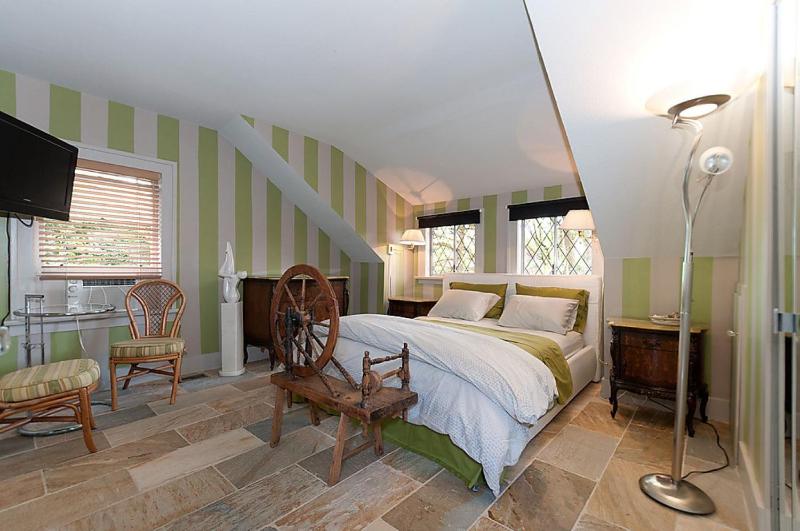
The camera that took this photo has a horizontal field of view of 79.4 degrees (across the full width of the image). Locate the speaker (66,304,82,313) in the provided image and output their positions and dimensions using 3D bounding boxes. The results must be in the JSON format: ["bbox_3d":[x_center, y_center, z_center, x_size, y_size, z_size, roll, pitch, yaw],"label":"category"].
[{"bbox_3d":[-3.054,0.404,4.540,0.129,0.088,0.470,-3,-1,-35],"label":"speaker"}]

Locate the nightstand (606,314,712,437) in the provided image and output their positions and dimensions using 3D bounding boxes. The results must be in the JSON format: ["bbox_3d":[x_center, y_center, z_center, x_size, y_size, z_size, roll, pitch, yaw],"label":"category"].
[{"bbox_3d":[2.489,0.996,4.647,0.559,1.007,0.770,-16,14,-42],"label":"nightstand"}]

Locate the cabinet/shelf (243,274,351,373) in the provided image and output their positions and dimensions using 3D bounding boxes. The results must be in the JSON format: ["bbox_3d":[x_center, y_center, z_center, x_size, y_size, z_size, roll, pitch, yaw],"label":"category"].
[{"bbox_3d":[-1.098,0.592,4.874,0.461,1.035,1.124,0,-1,37],"label":"cabinet/shelf"}]

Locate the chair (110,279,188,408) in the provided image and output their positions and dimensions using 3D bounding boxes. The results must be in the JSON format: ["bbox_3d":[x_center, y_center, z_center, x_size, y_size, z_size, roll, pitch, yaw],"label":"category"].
[{"bbox_3d":[-2.658,0.767,5.126,0.712,1.485,0.972,-3,0,-24],"label":"chair"}]

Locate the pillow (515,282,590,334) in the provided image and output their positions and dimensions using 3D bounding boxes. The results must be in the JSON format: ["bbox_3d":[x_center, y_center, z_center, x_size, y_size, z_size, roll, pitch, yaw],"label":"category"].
[{"bbox_3d":[1.723,0.491,5.377,0.102,0.353,0.518,23,-11,-38],"label":"pillow"}]

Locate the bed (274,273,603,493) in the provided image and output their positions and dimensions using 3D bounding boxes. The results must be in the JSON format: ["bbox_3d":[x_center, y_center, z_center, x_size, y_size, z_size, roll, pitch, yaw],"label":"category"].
[{"bbox_3d":[0.699,0.932,4.450,2.225,1.199,2.145,1,0,36],"label":"bed"}]

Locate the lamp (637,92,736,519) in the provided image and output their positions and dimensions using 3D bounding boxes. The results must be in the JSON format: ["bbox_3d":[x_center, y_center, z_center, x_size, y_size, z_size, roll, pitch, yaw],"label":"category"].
[{"bbox_3d":[2.296,0.287,3.792,0.658,2.271,0.987,-2,1,44],"label":"lamp"}]

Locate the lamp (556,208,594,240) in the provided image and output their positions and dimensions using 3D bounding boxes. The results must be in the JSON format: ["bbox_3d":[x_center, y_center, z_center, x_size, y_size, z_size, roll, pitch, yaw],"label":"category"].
[{"bbox_3d":[2.058,-0.483,5.584,0.338,0.371,0.353,0,1,-2],"label":"lamp"}]

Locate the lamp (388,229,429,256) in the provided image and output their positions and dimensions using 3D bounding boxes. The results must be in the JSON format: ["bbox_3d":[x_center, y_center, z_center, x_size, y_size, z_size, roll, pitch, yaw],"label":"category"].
[{"bbox_3d":[0.142,-0.360,7.192,0.557,0.358,0.622,-3,-1,19],"label":"lamp"}]
